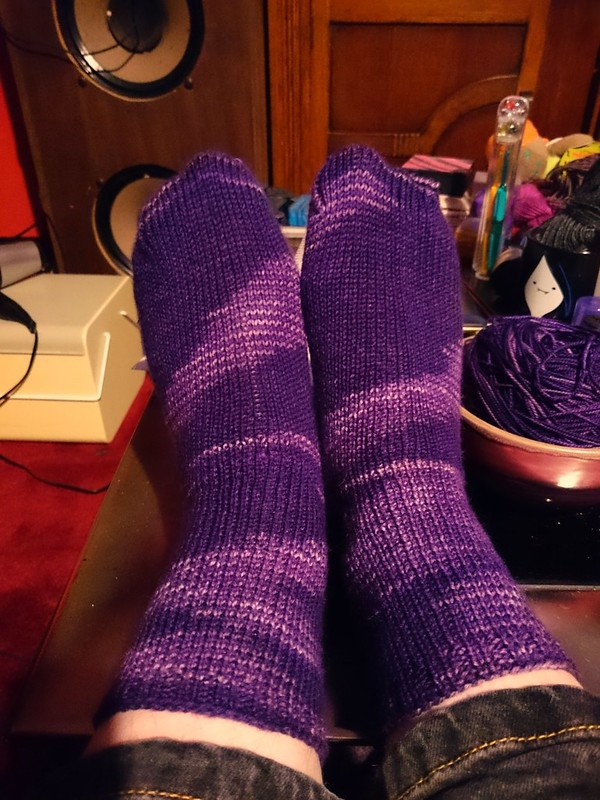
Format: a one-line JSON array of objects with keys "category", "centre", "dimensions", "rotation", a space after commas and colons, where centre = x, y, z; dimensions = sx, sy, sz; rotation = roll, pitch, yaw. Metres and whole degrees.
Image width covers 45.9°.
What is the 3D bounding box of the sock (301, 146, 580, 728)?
[{"category": "sock", "centre": [0.083, -0.004, 0.740], "dimensions": [0.163, 0.117, 0.599], "rotation": [-2, 51, -19]}]
